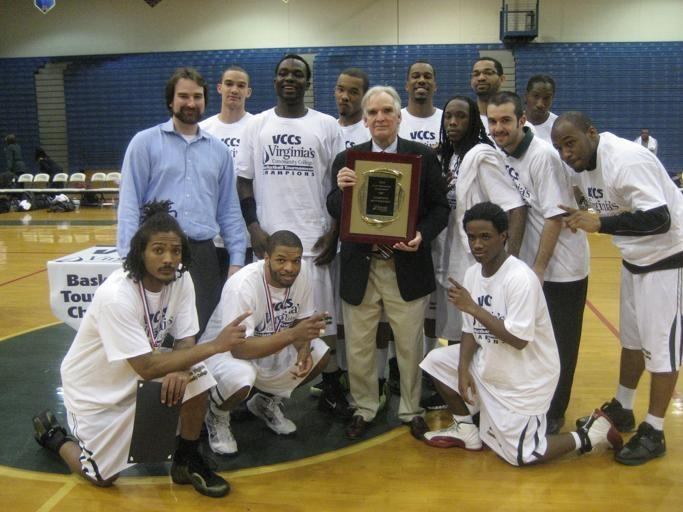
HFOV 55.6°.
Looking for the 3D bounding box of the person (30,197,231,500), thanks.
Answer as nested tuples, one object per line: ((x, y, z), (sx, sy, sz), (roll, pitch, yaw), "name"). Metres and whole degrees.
((-1.219, 0.590, 3.863), (1.288, 1.622, 0.646), (-5, 14, -8), "person")

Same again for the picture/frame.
((0.255, -0.366, 4.206), (0.630, 0.702, 0.058), (4, 5, 1), "picture/frame")

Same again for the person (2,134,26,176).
((-7.874, -2.384, 15.432), (0.408, 0.959, 2.924), (-9, 14, -25), "person")
